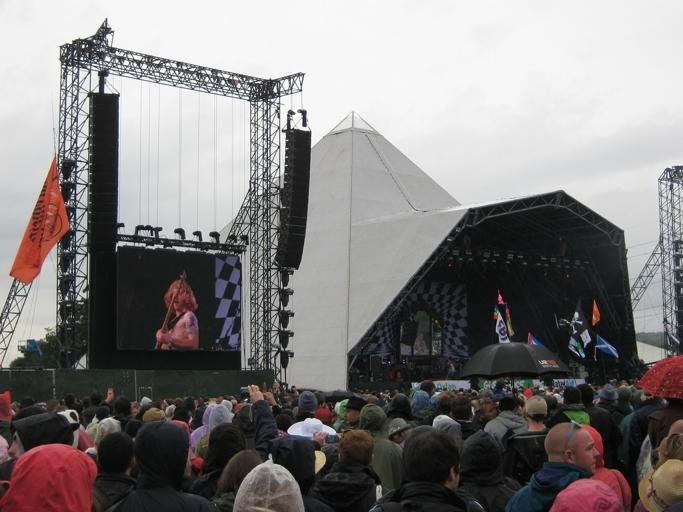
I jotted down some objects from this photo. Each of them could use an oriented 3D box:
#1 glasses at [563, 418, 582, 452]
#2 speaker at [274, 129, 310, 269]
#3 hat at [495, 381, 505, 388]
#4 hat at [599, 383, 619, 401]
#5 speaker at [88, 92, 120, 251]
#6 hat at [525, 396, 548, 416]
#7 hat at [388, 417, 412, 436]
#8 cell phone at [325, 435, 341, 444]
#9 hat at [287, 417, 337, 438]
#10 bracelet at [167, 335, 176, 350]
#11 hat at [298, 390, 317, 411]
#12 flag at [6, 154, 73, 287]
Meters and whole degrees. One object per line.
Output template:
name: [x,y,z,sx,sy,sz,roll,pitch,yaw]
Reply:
glasses: [1.964,1.550,8.004,0.135,0.193,0.150,-12,-10,-41]
speaker: [-1.364,-1.617,26.321,0.823,3.824,1.713,1,-11,-5]
hat: [2.549,2.085,15.090,0.228,0.109,0.322,-2,-7,17]
hat: [3.479,1.794,12.251,0.213,0.233,0.704,-3,-12,14]
speaker: [-6.102,-2.131,23.834,0.809,3.905,1.062,2,-11,-11]
hat: [2.085,1.623,10.077,0.219,0.222,0.298,-2,-11,10]
hat: [0.629,1.874,10.217,0.242,0.190,0.281,0,-11,2]
cell phone: [-0.100,2.033,10.327,0.163,0.084,0.161,4,-4,-43]
hat: [-0.334,1.867,10.112,0.309,0.105,0.336,-2,12,-30]
bracelet: [-4.762,2.428,26.016,0.064,0.328,0.249,-8,-13,36]
hat: [-0.403,1.732,11.152,0.209,0.230,0.234,0,3,-19]
flag: [-6.867,-1.060,21.589,1.124,3.594,0.484,11,-38,-25]
